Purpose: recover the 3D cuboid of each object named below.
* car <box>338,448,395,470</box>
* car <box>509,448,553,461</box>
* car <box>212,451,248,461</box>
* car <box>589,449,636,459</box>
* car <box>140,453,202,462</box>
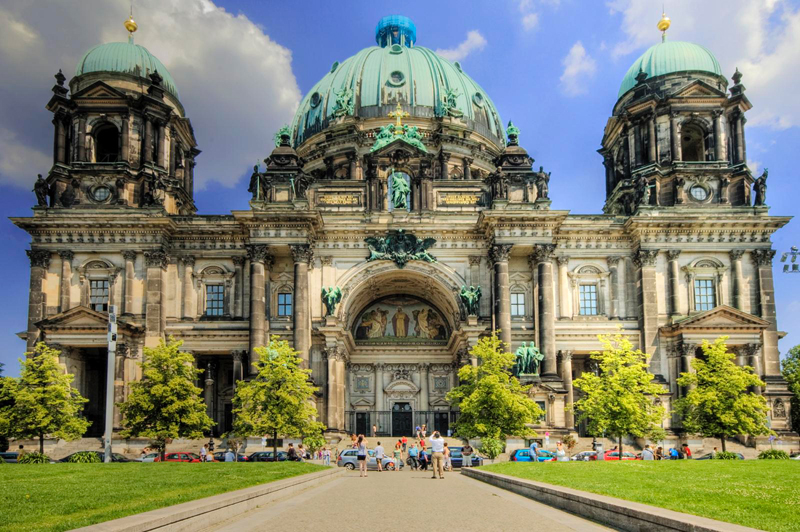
[{"bbox_3d":[-2.726,16.073,92.237,4.483,1.375,2.028,-2,-11,2],"label":"car"},{"bbox_3d":[11.186,16.066,93.189,2.562,0.996,1.398,-3,-9,6],"label":"car"},{"bbox_3d":[-14.878,16.539,95.266,2.468,0.857,1.557,-2,-10,3],"label":"car"},{"bbox_3d":[17.800,15.720,91.835,3.394,1.027,7.295,-3,-13,14],"label":"car"},{"bbox_3d":[-19.539,16.357,93.883,2.547,0.748,1.197,-1,-10,-2],"label":"car"}]
